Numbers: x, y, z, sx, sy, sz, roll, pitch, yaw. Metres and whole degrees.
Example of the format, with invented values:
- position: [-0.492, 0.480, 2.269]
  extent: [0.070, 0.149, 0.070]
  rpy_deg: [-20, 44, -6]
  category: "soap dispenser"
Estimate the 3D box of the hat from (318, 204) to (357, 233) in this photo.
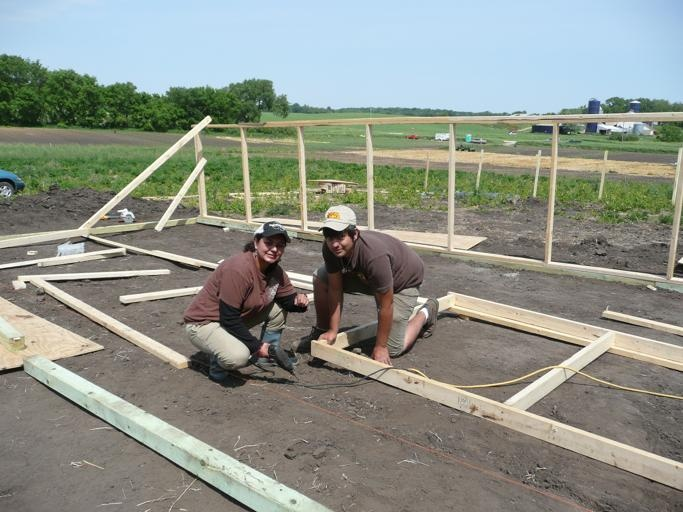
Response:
- position: [-0.018, -0.335, 4.416]
  extent: [0.271, 0.139, 0.326]
  rpy_deg: [0, 0, 18]
  category: "hat"

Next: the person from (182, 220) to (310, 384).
- position: [-0.889, 0.343, 4.412]
  extent: [1.054, 1.319, 0.619]
  rpy_deg: [-1, 14, -2]
  category: "person"

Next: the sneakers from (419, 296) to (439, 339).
- position: [1.008, 0.688, 5.474]
  extent: [0.236, 0.450, 0.191]
  rpy_deg: [-22, 42, -36]
  category: "sneakers"

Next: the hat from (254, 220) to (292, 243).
- position: [-0.635, -0.222, 4.282]
  extent: [0.231, 0.119, 0.285]
  rpy_deg: [2, 1, -28]
  category: "hat"

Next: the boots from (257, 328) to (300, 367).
- position: [-0.622, 0.896, 4.750]
  extent: [0.641, 0.436, 0.182]
  rpy_deg: [5, 42, 0]
  category: "boots"
